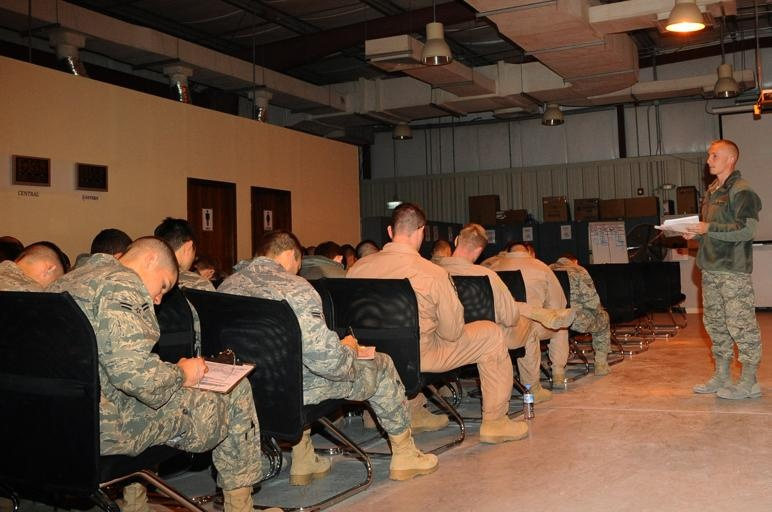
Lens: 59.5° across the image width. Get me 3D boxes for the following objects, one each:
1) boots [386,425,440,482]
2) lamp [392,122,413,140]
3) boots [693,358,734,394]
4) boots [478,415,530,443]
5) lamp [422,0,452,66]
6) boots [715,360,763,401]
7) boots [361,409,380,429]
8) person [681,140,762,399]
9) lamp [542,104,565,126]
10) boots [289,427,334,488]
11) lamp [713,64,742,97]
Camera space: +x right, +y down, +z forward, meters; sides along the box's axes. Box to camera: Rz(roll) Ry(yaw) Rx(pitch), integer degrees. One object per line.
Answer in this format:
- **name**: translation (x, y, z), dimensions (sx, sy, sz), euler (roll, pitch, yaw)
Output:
- **boots**: translation (0.200, 1.312, 4.507), dimensions (0.341, 0.323, 0.151), euler (-1, -10, -29)
- **lamp**: translation (0.346, -2.536, 13.491), dimensions (0.387, 0.376, 0.386), euler (0, -5, 0)
- **boots**: translation (2.909, 1.122, 6.241), dimensions (0.472, 0.355, 0.199), euler (-3, -2, 8)
- **boots**: translation (0.868, 1.278, 5.085), dimensions (0.406, 0.187, 0.159), euler (-4, 4, -20)
- **lamp**: translation (0.668, -2.874, 9.096), dimensions (0.385, 0.653, 0.406), euler (-5, 2, 5)
- **boots**: translation (3.023, 1.115, 6.008), dimensions (0.503, 0.371, 0.206), euler (-1, -2, 6)
- **boots**: translation (-0.122, 1.376, 5.636), dimensions (0.150, 0.147, 0.152), euler (-2, -4, 2)
- **person**: translation (2.980, 0.117, 5.943), dimensions (0.537, 2.265, 0.508), euler (-3, 2, 43)
- **lamp**: translation (3.098, -2.636, 12.530), dimensions (0.334, 0.314, 0.592), euler (-4, 2, 19)
- **boots**: translation (-0.494, 1.341, 4.568), dimensions (0.166, 0.342, 0.358), euler (-1, -1, 37)
- **lamp**: translation (5.463, -2.802, 10.894), dimensions (0.448, 0.499, 0.440), euler (2, 8, 39)
